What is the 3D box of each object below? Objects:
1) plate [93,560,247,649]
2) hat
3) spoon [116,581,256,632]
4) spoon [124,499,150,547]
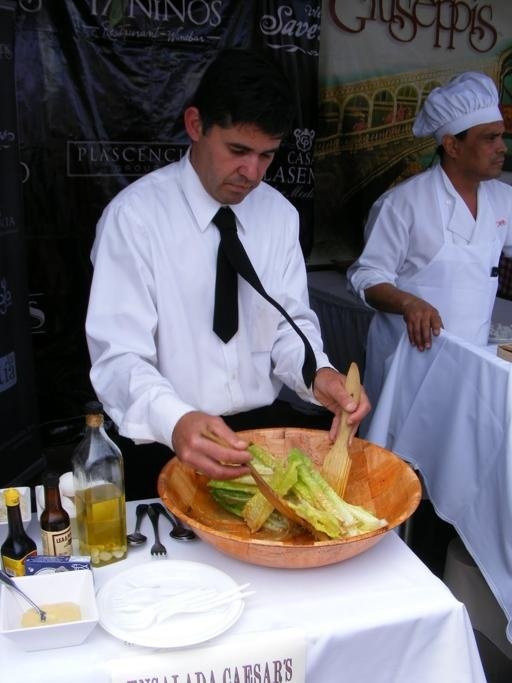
[{"bbox_3d":[-0.123,0.421,0.927,0.215,0.024,0.216,-8,4,-39],"label":"plate"},{"bbox_3d":[0.949,-1.118,2.779,0.384,0.227,0.482,-16,8,7],"label":"hat"},{"bbox_3d":[-0.106,0.413,0.941,0.229,0.016,0.068,-4,26,-27],"label":"spoon"},{"bbox_3d":[-0.251,0.391,1.260,0.039,0.025,0.187,11,6,-8],"label":"spoon"}]
